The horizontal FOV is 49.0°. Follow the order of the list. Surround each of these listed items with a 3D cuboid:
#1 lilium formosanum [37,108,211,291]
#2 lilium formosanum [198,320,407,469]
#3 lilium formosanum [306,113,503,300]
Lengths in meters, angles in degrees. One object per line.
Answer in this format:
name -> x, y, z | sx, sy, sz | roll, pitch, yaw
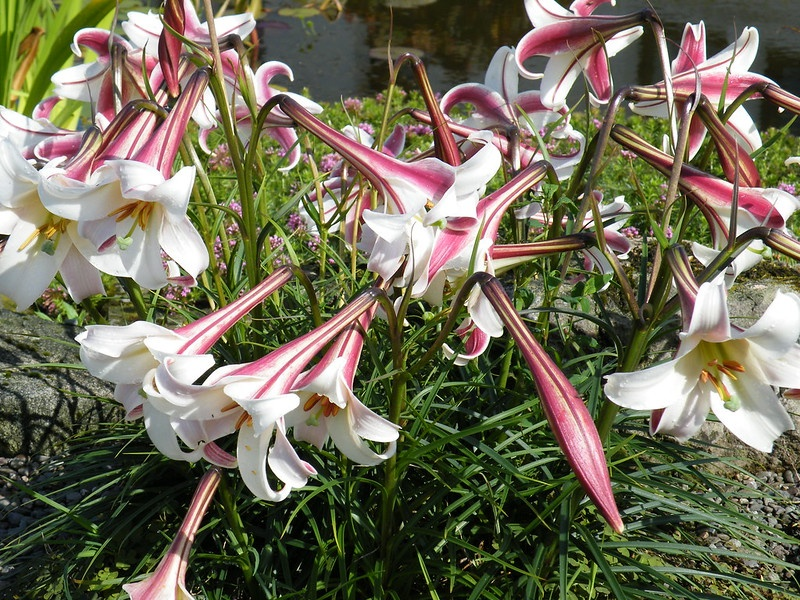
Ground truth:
lilium formosanum -> -0.652, -0.221, 2.123 | 0.292, 0.322, 0.155 | 11, 37, 8
lilium formosanum -> -0.171, 0.265, 1.932 | 0.264, 0.252, 0.323 | 14, 44, 32
lilium formosanum -> 0.051, -0.213, 2.087 | 0.367, 0.293, 0.329 | -7, 45, -4
